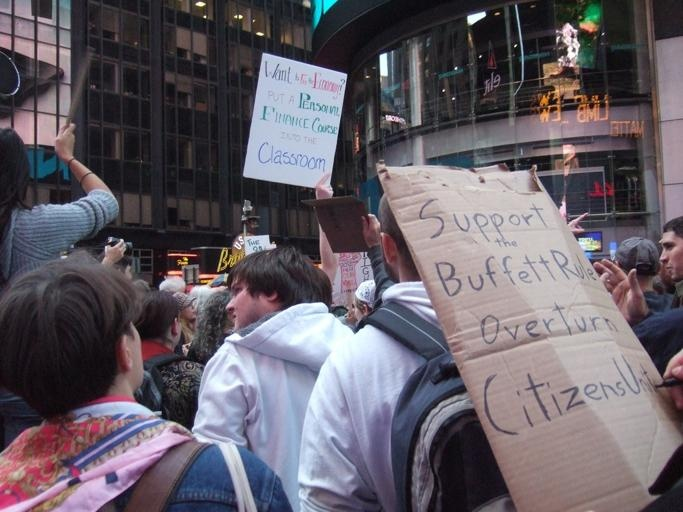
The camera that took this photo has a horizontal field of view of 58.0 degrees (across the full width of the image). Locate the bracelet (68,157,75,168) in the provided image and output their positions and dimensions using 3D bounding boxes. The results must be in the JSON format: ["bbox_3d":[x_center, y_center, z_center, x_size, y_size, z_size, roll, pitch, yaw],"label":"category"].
[{"bbox_3d":[-1.715,-0.599,3.906,0.013,0.062,0.058,15,17,-22],"label":"bracelet"}]

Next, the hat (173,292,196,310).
[{"bbox_3d":[-1.602,0.467,6.324,0.303,0.159,0.228,4,2,-29],"label":"hat"}]

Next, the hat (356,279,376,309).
[{"bbox_3d":[0.246,0.380,6.198,0.182,0.250,0.290,1,12,-6],"label":"hat"}]

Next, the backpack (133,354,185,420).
[{"bbox_3d":[-1.169,0.822,3.870,0.194,0.504,0.327,-16,-14,33],"label":"backpack"}]

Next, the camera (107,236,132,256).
[{"bbox_3d":[-1.594,-0.070,4.513,0.205,0.109,0.213,11,-5,-30],"label":"camera"}]
